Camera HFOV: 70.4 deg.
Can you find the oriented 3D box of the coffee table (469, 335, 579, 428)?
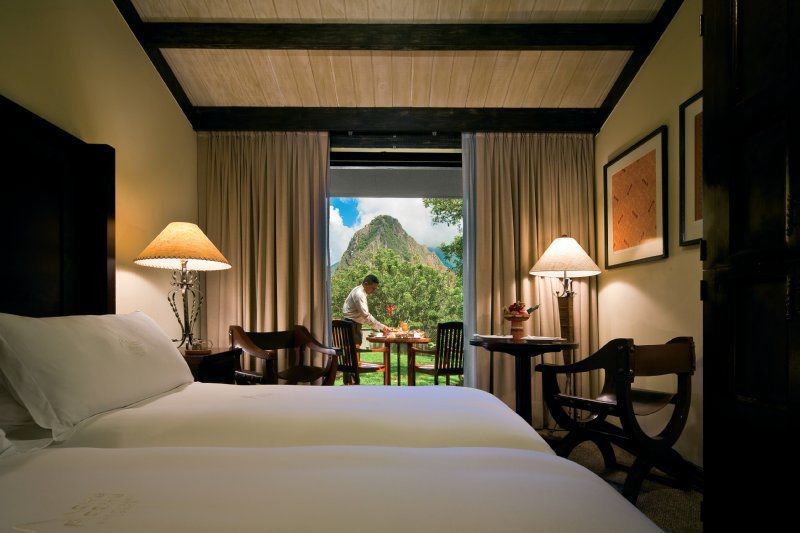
[{"bbox_3d":[0.933,0.880,4.492,0.692,0.800,0.732,-1,-6,8],"label":"coffee table"}]

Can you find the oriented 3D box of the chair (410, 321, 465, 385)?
[{"bbox_3d":[0.404,0.955,5.652,0.440,0.822,0.500,3,-4,-32],"label":"chair"}]

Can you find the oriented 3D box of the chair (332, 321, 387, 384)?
[{"bbox_3d":[-0.424,0.909,5.596,0.453,0.783,0.470,-2,-1,-29],"label":"chair"}]

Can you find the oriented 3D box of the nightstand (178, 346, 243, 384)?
[{"bbox_3d":[-1.416,0.774,4.185,0.260,0.306,0.458,-17,3,-34],"label":"nightstand"}]

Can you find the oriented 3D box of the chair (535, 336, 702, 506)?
[{"bbox_3d":[1.419,0.937,3.676,0.766,0.987,0.796,2,-3,-21],"label":"chair"}]

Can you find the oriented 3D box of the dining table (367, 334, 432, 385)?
[{"bbox_3d":[-0.013,0.927,6.192,0.751,0.614,0.793,0,-9,0],"label":"dining table"}]
